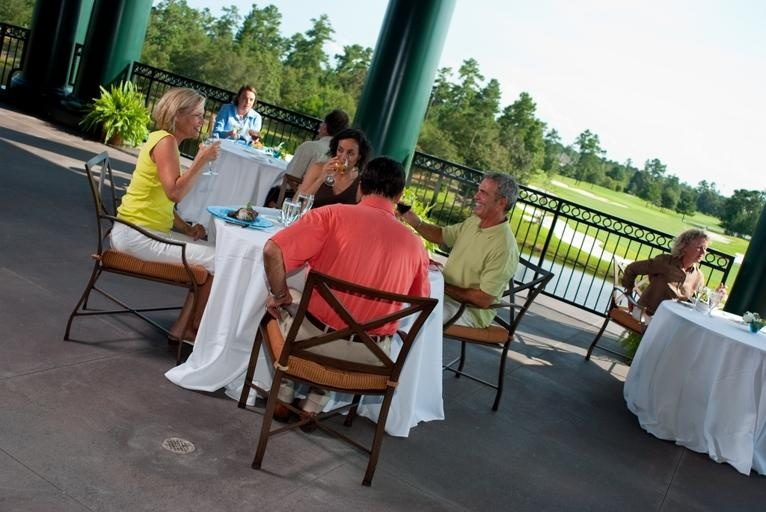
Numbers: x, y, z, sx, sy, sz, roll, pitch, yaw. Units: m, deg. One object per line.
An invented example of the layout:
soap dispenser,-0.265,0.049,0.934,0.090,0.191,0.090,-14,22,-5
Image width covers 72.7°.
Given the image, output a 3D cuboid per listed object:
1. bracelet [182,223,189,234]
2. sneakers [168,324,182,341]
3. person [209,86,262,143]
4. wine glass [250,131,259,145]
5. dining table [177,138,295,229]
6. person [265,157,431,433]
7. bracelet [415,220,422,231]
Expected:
bracelet,-1.498,-0.205,3.915,0.053,0.061,0.015,-2,3,10
sneakers,-1.479,0.549,3.745,0.114,0.132,0.106,9,-10,-14
person,-1.838,-1.752,6.666,0.573,0.884,0.527,6,5,-37
wine glass,-1.646,-1.486,6.596,0.137,0.155,0.056,18,18,35
dining table,-1.674,-0.806,6.185,1.132,0.942,1.217,25,2,8
person,-0.238,0.256,2.998,0.934,1.701,0.596,15,10,4
bracelet,0.288,-0.255,4.326,0.065,0.053,0.065,-8,14,-29
